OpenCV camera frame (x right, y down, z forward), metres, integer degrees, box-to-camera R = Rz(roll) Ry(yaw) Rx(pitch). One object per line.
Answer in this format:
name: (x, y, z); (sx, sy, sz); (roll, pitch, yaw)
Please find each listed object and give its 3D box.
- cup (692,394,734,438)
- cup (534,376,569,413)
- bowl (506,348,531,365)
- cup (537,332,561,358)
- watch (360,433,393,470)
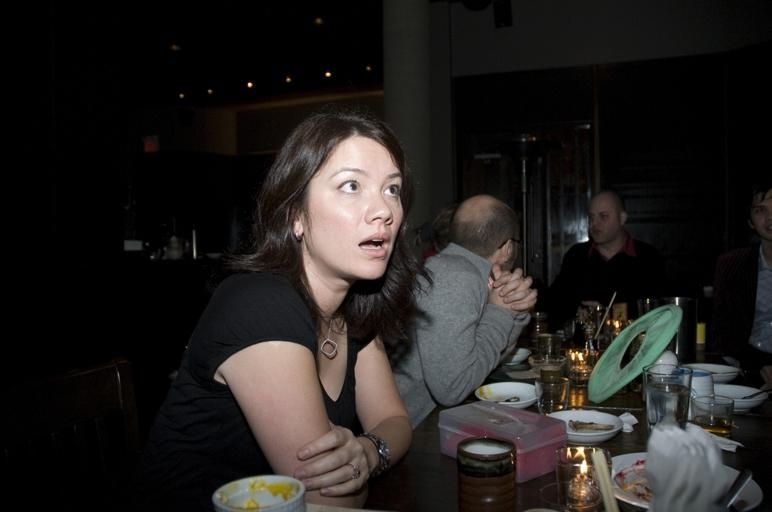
cup: (1.338, 0.662, 2.356); (0.152, 0.150, 0.191); (-2, -9, 7)
cup: (0.750, 0.628, 2.597); (0.146, 0.160, 0.146); (-2, -9, 0)
bowl: (0.774, 0.589, 3.342); (0.100, 0.047, 0.098); (-3, -3, 0)
cup: (0.920, 0.497, 3.201); (0.139, 0.145, 0.153); (0, -3, -8)
watch: (-0.031, 0.765, 2.232); (0.112, 0.119, 0.042); (-24, -22, -20)
